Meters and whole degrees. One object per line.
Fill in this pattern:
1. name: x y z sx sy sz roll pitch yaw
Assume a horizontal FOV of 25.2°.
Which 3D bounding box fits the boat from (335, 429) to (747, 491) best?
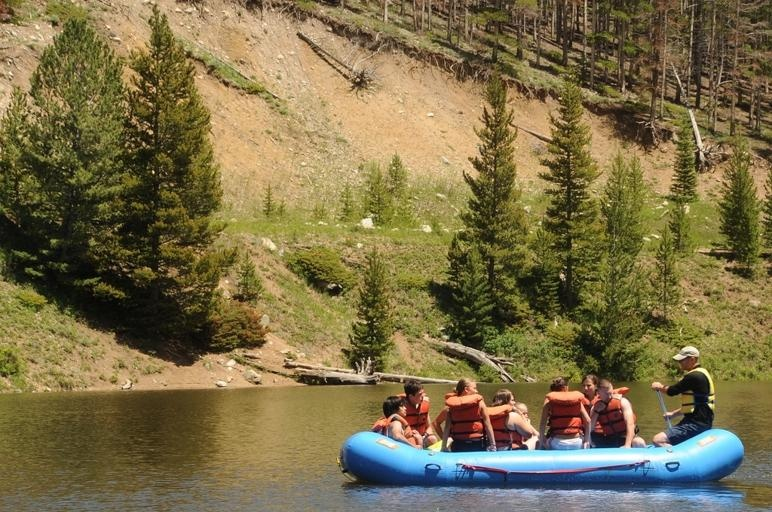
1. boat: 13.589 17.592 147.143 29.688 4.328 9.698 1 1 2
